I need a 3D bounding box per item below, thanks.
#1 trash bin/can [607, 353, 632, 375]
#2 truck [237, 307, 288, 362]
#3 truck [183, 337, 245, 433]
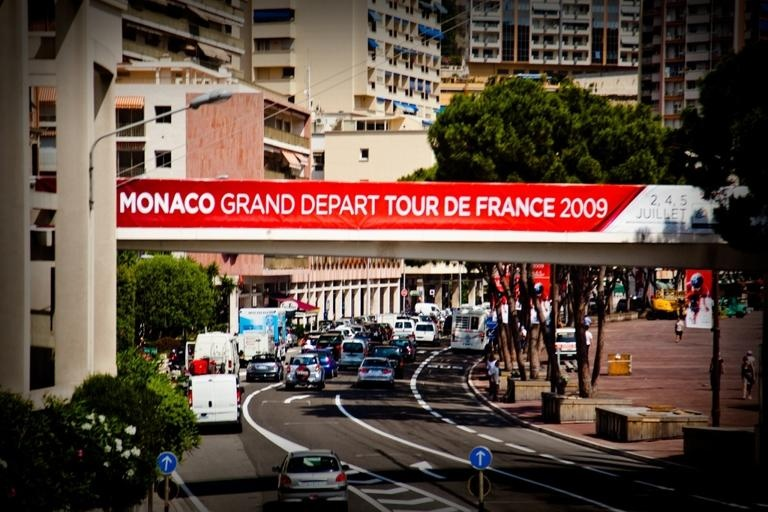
[{"bbox_3d":[15.875,7.382,86.411,1.312,1.486,1.454,-1,0,7],"label":"trash bin/can"},{"bbox_3d":[-8.745,5.478,93.162,2.663,3.088,6.758,0,-1,0],"label":"truck"},{"bbox_3d":[-8.944,6.892,67.088,2.452,3.771,6.586,-1,1,-4],"label":"truck"}]
